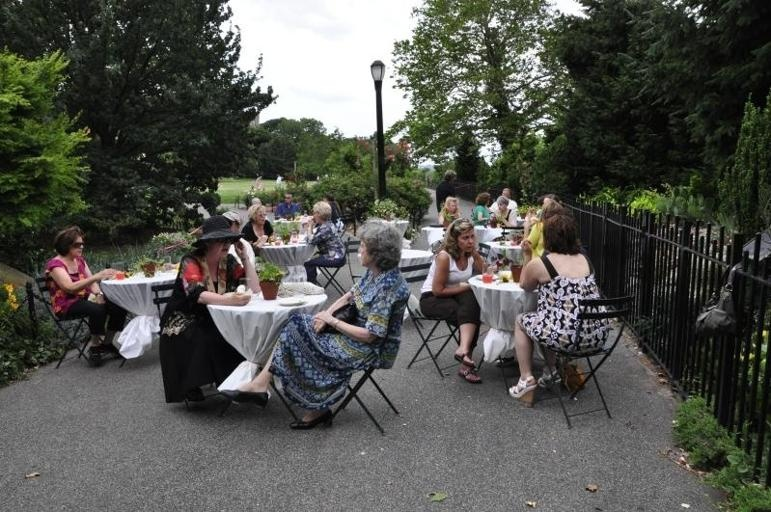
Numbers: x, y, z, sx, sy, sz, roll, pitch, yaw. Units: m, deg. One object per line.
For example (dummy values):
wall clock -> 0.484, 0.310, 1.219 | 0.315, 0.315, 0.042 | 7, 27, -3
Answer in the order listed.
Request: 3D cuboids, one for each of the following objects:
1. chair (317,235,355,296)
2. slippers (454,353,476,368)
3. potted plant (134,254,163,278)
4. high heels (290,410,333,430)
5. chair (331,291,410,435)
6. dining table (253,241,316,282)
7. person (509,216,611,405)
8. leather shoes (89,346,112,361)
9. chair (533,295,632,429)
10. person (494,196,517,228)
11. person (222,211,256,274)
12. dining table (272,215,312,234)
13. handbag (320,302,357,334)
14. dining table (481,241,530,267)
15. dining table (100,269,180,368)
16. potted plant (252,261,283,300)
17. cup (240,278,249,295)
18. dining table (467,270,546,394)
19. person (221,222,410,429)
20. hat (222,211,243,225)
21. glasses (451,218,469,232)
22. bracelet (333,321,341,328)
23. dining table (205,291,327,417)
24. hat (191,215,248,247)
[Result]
chair -> -1.170, 0.323, 11.797 | 0.738, 1.007, 0.670 | 2, -13, -1
slippers -> 0.990, 1.383, 7.198 | 0.373, 0.160, 0.143 | 16, 0, 28
potted plant -> -3.681, 0.164, 8.524 | 0.370, 0.281, 0.342 | -1, 1, -29
high heels -> -0.868, 1.950, 6.444 | 0.495, 0.222, 0.189 | 3, -2, -16
chair -> -0.324, 1.338, 6.744 | 1.127, 1.862, 0.968 | 4, 16, 1
dining table -> -2.012, 0.036, 11.219 | 1.021, 0.771, 1.062 | 0, -5, -13
person -> 2.081, 0.665, 6.625 | 1.101, 2.281, 0.591 | 0, 9, 20
leather shoes -> -4.338, 1.502, 8.306 | 0.169, 0.191, 0.422 | 10, -18, -40
chair -> 2.399, 1.164, 6.777 | 0.795, 1.627, 1.005 | -4, 13, -24
person -> 3.013, -1.131, 13.724 | 0.525, 0.715, 1.860 | -1, 8, 14
person -> -2.701, -0.173, 9.608 | 0.332, 1.213, 0.416 | -2, -6, 13
dining table -> -2.531, -0.848, 14.368 | 1.032, 0.422, 1.124 | 0, 0, -3
handbag -> -0.513, 0.745, 6.358 | 0.123, 0.353, 0.351 | 40, 6, 7
dining table -> 2.264, -0.077, 10.371 | 0.667, 0.476, 0.690 | 0, 0, -1
dining table -> -3.714, 0.833, 8.514 | 1.045, 0.953, 1.216 | -9, 4, -14
potted plant -> -1.462, 0.313, 7.024 | 0.391, 0.539, 0.478 | -1, 0, 19
cup -> -1.733, 0.391, 6.705 | 0.157, 0.179, 0.162 | 0, 2, 0
dining table -> 1.594, 0.789, 7.280 | 0.876, 0.965, 0.934 | -4, -16, -36
person -> -0.473, 0.687, 6.196 | 1.463, 2.079, 0.487 | -3, 9, -1
hat -> -2.667, -0.600, 9.532 | 0.286, 0.182, 0.410 | 22, -1, -12
glasses -> 1.015, -0.433, 7.519 | 0.163, 0.133, 0.230 | 0, -14, -9
bracelet -> -0.548, 0.780, 6.143 | 0.063, 0.052, 0.064 | -3, 6, -6
dining table -> -1.475, 1.239, 6.818 | 1.120, 0.941, 1.195 | 3, -17, 31
hat -> -2.106, -0.291, 6.786 | 0.467, 0.269, 0.445 | -8, 1, -3
